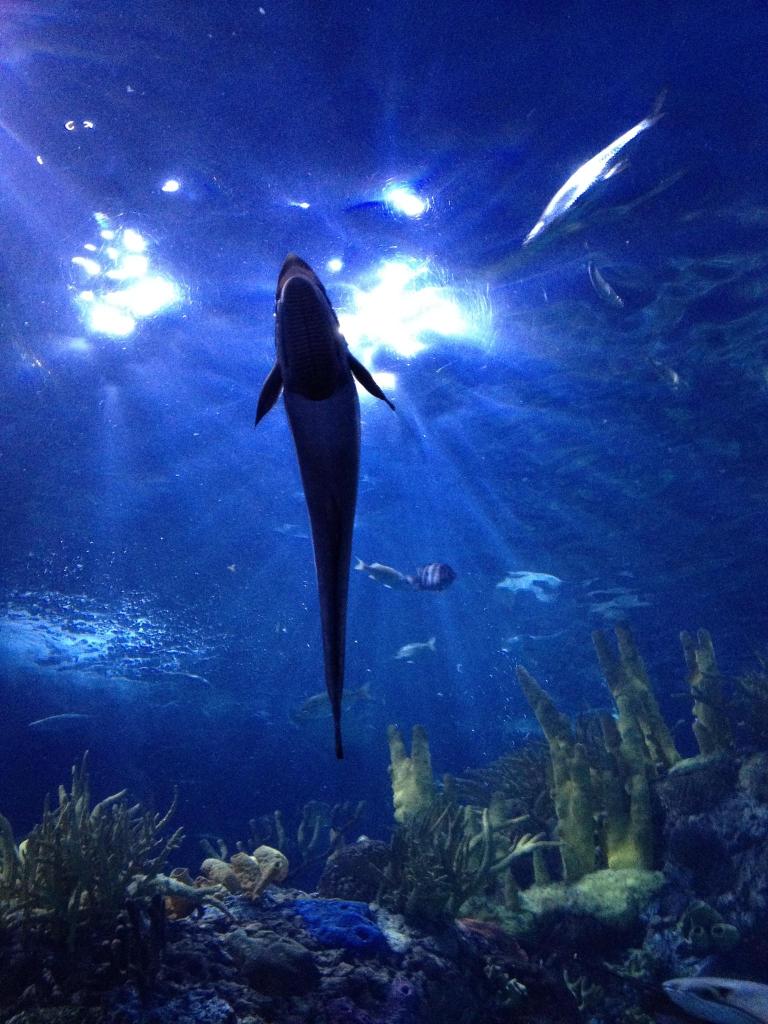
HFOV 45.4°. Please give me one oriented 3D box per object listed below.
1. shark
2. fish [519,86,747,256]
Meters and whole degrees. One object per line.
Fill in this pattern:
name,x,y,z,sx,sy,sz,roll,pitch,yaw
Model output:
shark,-0.335,-0.081,5.885,0.958,3.300,0.590,-6,3,-1
fish,2.444,-4.017,10.890,0.420,0.804,2.146,12,-25,-42
